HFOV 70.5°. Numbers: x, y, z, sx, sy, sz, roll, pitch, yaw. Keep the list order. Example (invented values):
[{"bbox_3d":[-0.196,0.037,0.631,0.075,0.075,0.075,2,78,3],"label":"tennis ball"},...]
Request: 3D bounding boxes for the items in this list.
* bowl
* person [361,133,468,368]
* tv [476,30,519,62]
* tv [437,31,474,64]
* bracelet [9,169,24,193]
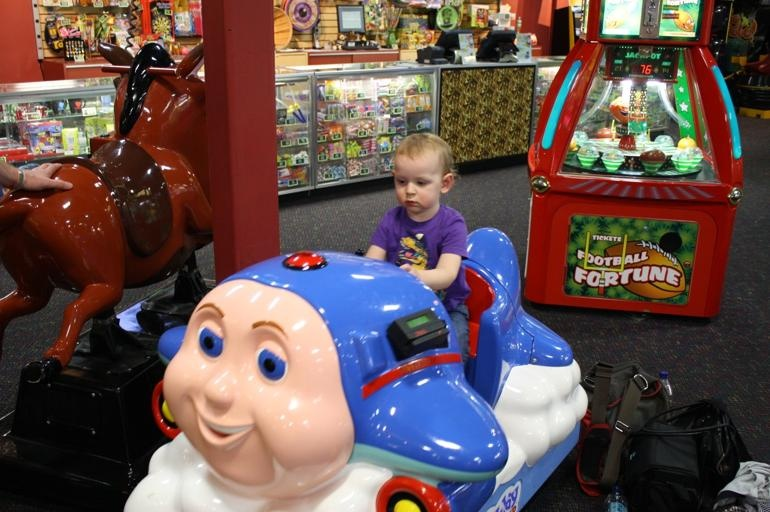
[{"bbox_3d":[1.820,-0.792,4.031,0.958,0.268,0.433,4,24,12],"label":"bowl"},{"bbox_3d":[0.133,-0.043,2.280,0.495,0.894,0.510,7,19,27],"label":"person"},{"bbox_3d":[1.689,-3.136,7.987,0.505,0.479,0.484,-14,23,-31],"label":"tv"},{"bbox_3d":[0.990,-3.018,7.699,0.502,0.439,0.423,-22,38,-36],"label":"tv"},{"bbox_3d":[-1.537,-0.320,2.293,0.069,0.076,0.074,20,19,5],"label":"bracelet"}]
